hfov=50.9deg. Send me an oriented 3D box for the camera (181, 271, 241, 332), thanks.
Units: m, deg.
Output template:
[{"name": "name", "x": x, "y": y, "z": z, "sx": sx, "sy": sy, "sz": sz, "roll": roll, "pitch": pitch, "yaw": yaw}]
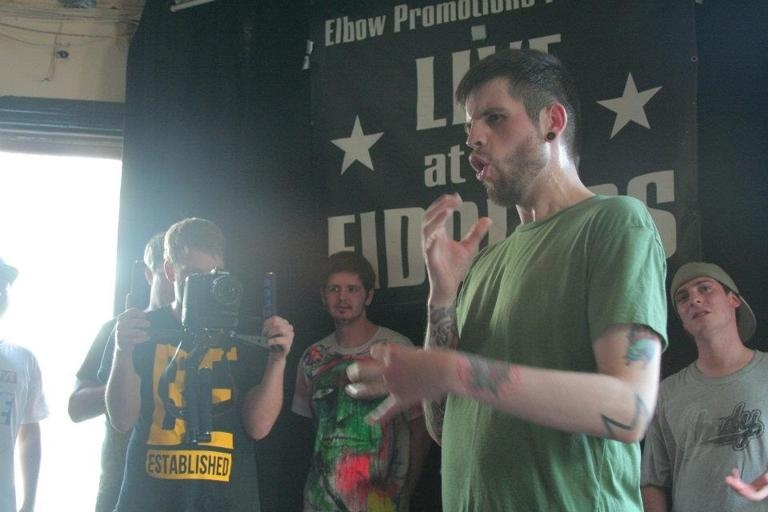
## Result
[{"name": "camera", "x": -0.815, "y": 0.160, "z": 3.976, "sx": 0.225, "sy": 0.248, "sz": 0.245, "roll": -5, "pitch": 18, "yaw": -13}]
